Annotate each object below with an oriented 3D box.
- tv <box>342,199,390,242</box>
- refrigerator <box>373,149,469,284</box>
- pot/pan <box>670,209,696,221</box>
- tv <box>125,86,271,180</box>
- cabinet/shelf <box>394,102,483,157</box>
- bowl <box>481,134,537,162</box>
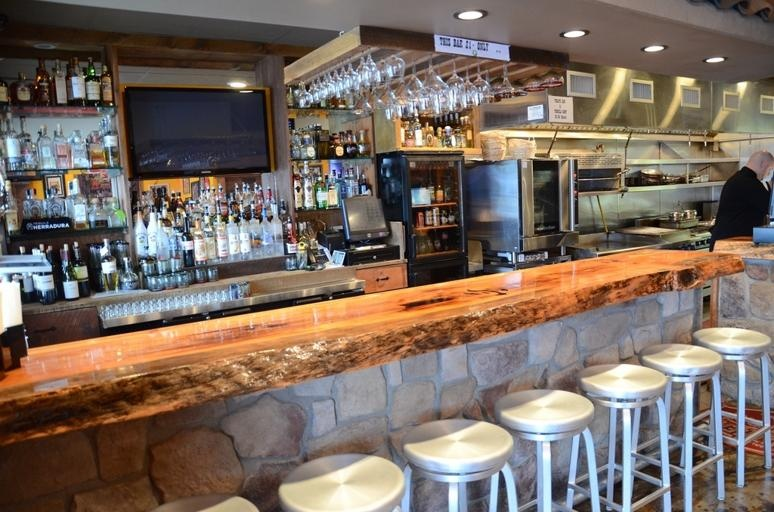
[{"bbox_3d":[-0.222,-0.321,5.371,0.404,0.369,0.140,-7,-14,-35],"label":"tv"},{"bbox_3d":[0.401,-0.383,5.747,0.857,1.341,0.430,-9,10,-24],"label":"refrigerator"},{"bbox_3d":[3.837,-0.502,7.412,0.383,0.108,0.243,-9,11,-36],"label":"pot/pan"},{"bbox_3d":[-1.655,-1.056,4.869,0.955,0.565,0.102,-3,2,-32],"label":"tv"},{"bbox_3d":[0.482,-1.168,5.393,0.669,0.574,0.337,-3,3,-34],"label":"cabinet/shelf"},{"bbox_3d":[1.281,-1.124,6.022,0.451,0.190,0.355,-5,11,-24],"label":"bowl"}]
